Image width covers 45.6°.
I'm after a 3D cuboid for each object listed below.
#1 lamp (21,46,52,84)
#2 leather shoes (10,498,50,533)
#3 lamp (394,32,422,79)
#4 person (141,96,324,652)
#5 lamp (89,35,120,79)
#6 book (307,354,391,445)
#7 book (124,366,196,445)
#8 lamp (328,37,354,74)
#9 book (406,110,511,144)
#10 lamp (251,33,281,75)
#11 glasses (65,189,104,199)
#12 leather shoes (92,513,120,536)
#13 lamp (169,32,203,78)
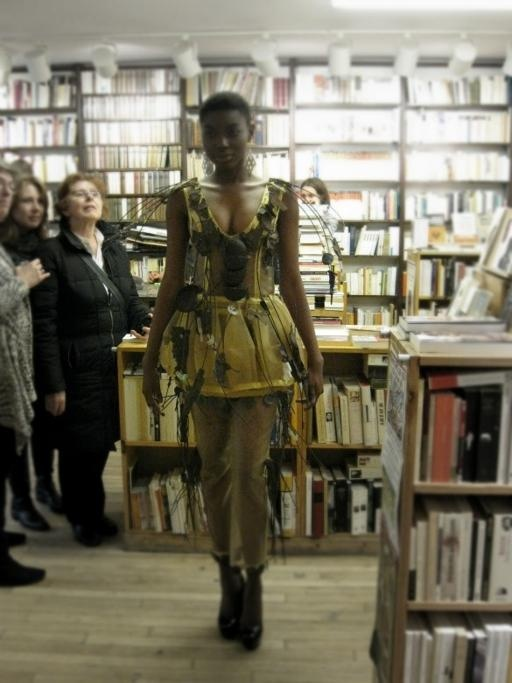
[{"bbox_3d":[-1.688,-2.133,4.689,0.162,0.208,0.289,-1,7,-14],"label":"lamp"},{"bbox_3d":[-0.979,0.749,2.679,0.241,0.116,0.085,10,9,39],"label":"leather shoes"},{"bbox_3d":[1.148,-2.212,4.676,0.170,0.308,0.325,5,47,4],"label":"lamp"},{"bbox_3d":[-0.067,0.159,1.656,0.473,1.525,0.362,-1,6,-12],"label":"person"},{"bbox_3d":[-1.146,-2.135,4.624,0.177,0.228,0.171,3,7,23],"label":"lamp"},{"bbox_3d":[0.385,0.230,2.419,0.110,0.373,0.264,2,1,-8],"label":"book"},{"bbox_3d":[-0.376,0.310,2.330,0.270,0.338,0.072,0,9,1],"label":"book"},{"bbox_3d":[0.640,-2.146,4.576,0.167,0.169,0.249,14,-30,21],"label":"lamp"},{"bbox_3d":[1.758,-1.870,5.318,0.864,0.308,0.111,1,6,4],"label":"book"},{"bbox_3d":[0.070,-2.109,4.522,0.155,0.233,0.281,2,7,14],"label":"lamp"},{"bbox_3d":[-0.658,-0.560,2.344,0.063,0.020,0.065,-2,-2,-35],"label":"glasses"},{"bbox_3d":[-0.639,0.788,2.574,0.076,0.029,0.113,8,18,-14],"label":"leather shoes"},{"bbox_3d":[-0.511,-2.173,4.592,0.175,0.329,0.305,-2,-30,-4],"label":"lamp"}]
